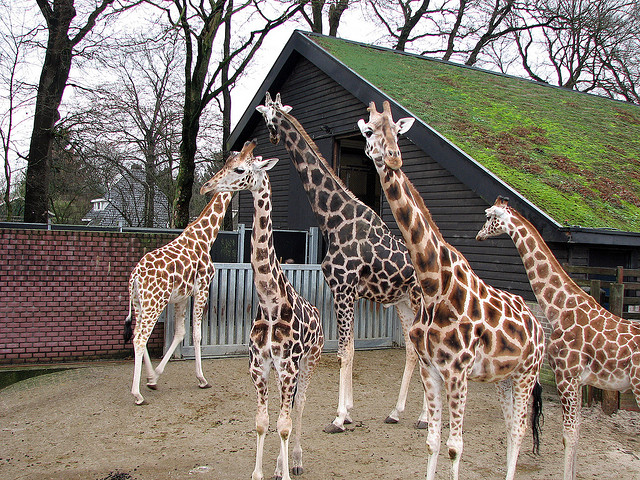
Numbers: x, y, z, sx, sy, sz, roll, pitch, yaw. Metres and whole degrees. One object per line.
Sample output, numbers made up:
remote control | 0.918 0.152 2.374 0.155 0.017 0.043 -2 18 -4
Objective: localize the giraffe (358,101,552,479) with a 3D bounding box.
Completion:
giraffe | 1.991 0.639 8.591 2.250 4.755 3.673 4 9 21

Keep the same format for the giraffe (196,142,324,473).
giraffe | -0.660 0.798 8.552 1.348 4.200 2.525 1 8 -1
